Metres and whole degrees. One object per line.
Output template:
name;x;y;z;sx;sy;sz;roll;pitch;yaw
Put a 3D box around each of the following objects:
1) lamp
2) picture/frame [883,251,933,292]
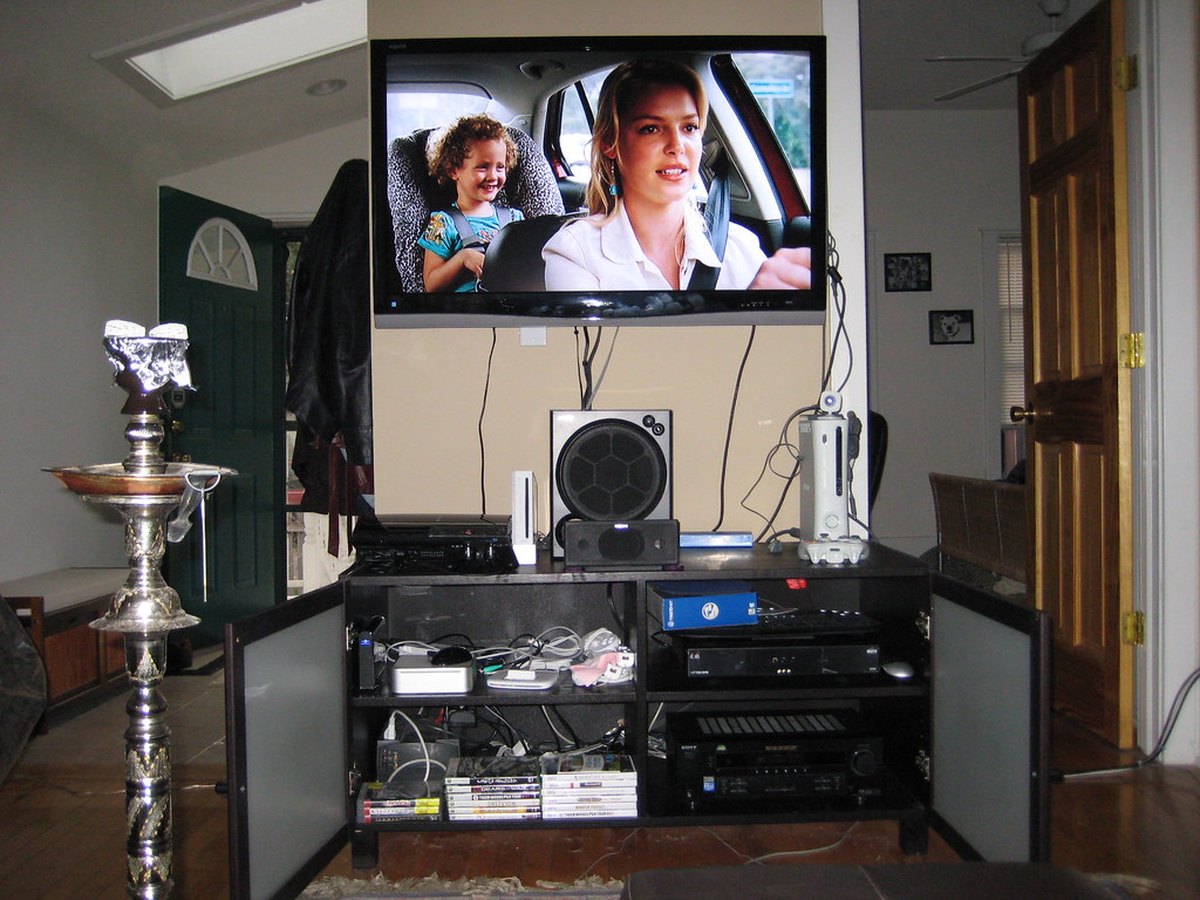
lamp;-1.088;0.403;2.717;0.394;1.438;0.244;-4;4;-16
picture/frame;1.889;-1.097;6.902;0.222;0.205;0.016;-1;1;2
